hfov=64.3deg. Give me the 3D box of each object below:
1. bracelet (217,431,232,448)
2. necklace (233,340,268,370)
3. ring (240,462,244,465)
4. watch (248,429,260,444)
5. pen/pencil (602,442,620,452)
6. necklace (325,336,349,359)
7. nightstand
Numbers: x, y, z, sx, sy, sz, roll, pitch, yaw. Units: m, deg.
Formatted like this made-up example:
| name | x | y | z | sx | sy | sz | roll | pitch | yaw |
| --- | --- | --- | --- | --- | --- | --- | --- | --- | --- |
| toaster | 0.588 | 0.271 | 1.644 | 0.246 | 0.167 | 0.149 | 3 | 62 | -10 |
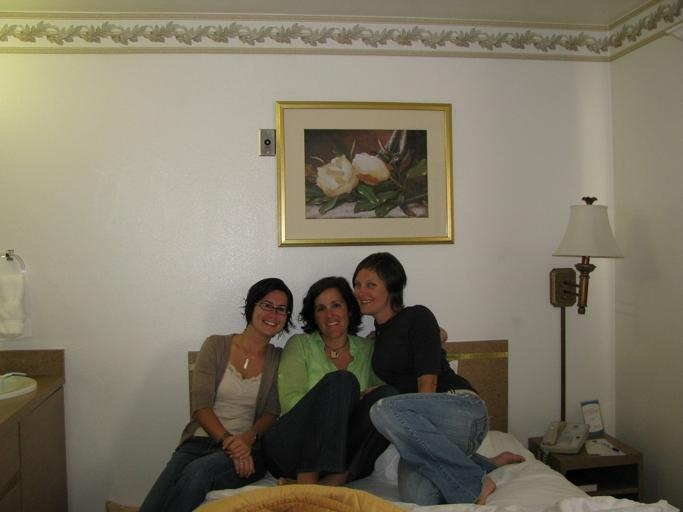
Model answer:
| name | x | y | z | sx | sy | sz | roll | pitch | yaw |
| --- | --- | --- | --- | --- | --- | --- | --- | --- | --- |
| bracelet | -0.682 | 1.069 | 3.165 | 0.089 | 0.037 | 0.086 | -35 | -12 | -34 |
| necklace | -0.592 | 0.626 | 3.417 | 0.148 | 0.208 | 0.081 | 7 | -11 | -4 |
| ring | -0.562 | 1.171 | 3.071 | 0.015 | 0.015 | 0.004 | 3 | -11 | -20 |
| watch | -0.517 | 1.064 | 3.195 | 0.066 | 0.075 | 0.047 | -17 | -17 | 37 |
| pen/pencil | 1.785 | 1.262 | 3.571 | 0.017 | 0.024 | 0.080 | -1 | -1 | -23 |
| necklace | -0.039 | 0.583 | 3.461 | 0.128 | 0.066 | 0.172 | -1 | 4 | 2 |
| nightstand | 1.624 | 1.361 | 3.671 | 0.418 | 0.451 | 0.445 | -1 | 3 | -6 |
